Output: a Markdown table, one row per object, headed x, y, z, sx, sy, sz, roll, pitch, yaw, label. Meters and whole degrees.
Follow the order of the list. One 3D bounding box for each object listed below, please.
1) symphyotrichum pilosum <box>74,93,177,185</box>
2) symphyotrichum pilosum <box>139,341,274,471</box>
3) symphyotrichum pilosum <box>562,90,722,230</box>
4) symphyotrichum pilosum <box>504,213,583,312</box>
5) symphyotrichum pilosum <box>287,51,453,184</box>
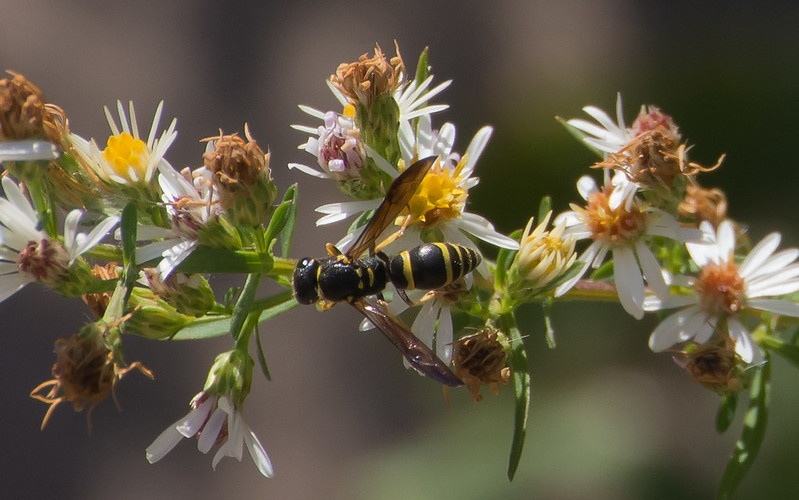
| x | y | z | sx | sy | sz | roll | pitch | yaw | label |
| --- | --- | --- | --- | --- | --- | --- | --- | --- | --- |
| -0.849 | -0.290 | 2.657 | 0.319 | 0.200 | 0.300 | -30 | -6 | -30 | symphyotrichum pilosum |
| -0.624 | 0.539 | 2.920 | 0.389 | 0.479 | 0.209 | 20 | -36 | -17 | symphyotrichum pilosum |
| 0.919 | -0.373 | 3.042 | 0.403 | 0.222 | 0.394 | -1 | 19 | -23 | symphyotrichum pilosum |
| 0.494 | 0.040 | 2.937 | 0.255 | 0.292 | 0.113 | -1 | -2 | 11 | symphyotrichum pilosum |
| -0.092 | -0.505 | 2.978 | 0.381 | 0.291 | 0.403 | -16 | 7 | -30 | symphyotrichum pilosum |
